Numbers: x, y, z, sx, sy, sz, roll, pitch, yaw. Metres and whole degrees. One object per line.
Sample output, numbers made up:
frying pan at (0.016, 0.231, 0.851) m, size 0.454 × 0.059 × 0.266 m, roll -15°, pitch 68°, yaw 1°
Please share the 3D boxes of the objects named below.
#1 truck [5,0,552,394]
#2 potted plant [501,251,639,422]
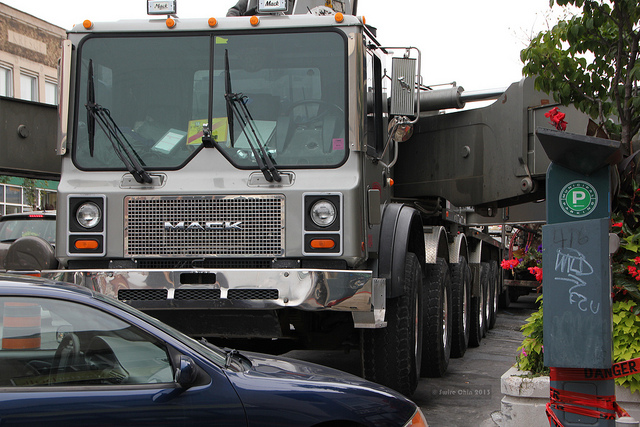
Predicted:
truck at (0.695, 0.130, 10.287) m, size 4.247 × 4.177 × 9.113 m, roll -1°, pitch -2°, yaw 19°
potted plant at (2.267, 1.148, 5.670) m, size 1.332 × 1.609 × 1.192 m, roll -3°, pitch -5°, yaw 39°
